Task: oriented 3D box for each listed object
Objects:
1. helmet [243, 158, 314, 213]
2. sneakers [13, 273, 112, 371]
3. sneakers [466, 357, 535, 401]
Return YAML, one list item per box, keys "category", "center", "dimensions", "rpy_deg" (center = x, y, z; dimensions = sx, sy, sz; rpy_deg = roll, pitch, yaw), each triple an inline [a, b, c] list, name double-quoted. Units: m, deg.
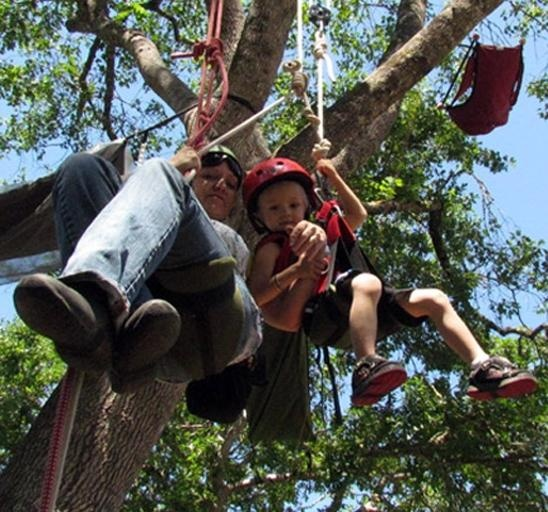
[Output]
- category: "helmet"
  center: [0.007, -0.577, 4.672]
  dimensions: [0.317, 0.364, 0.499]
  rpy_deg: [-8, -78, -17]
- category: "sneakers"
  center: [-0.850, 0.263, 2.805]
  dimensions: [0.249, 0.200, 0.467]
  rpy_deg: [-18, -65, 20]
- category: "sneakers"
  center: [1.297, 0.689, 3.882]
  dimensions: [0.416, 0.194, 0.242]
  rpy_deg: [-11, -58, 31]
